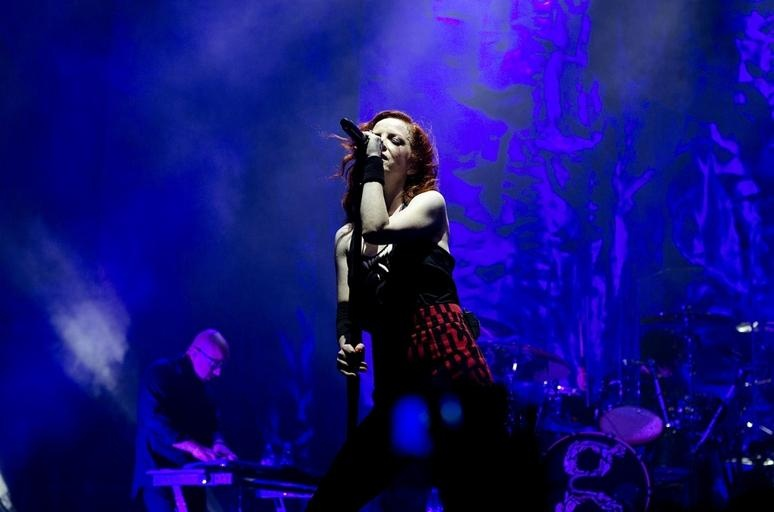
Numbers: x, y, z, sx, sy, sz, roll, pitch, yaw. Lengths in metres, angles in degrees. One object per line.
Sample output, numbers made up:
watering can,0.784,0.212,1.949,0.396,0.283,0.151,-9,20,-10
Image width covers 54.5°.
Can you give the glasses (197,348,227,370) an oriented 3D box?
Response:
glasses,-1.361,0.792,5.802,0.151,0.047,0.147,21,-9,11
